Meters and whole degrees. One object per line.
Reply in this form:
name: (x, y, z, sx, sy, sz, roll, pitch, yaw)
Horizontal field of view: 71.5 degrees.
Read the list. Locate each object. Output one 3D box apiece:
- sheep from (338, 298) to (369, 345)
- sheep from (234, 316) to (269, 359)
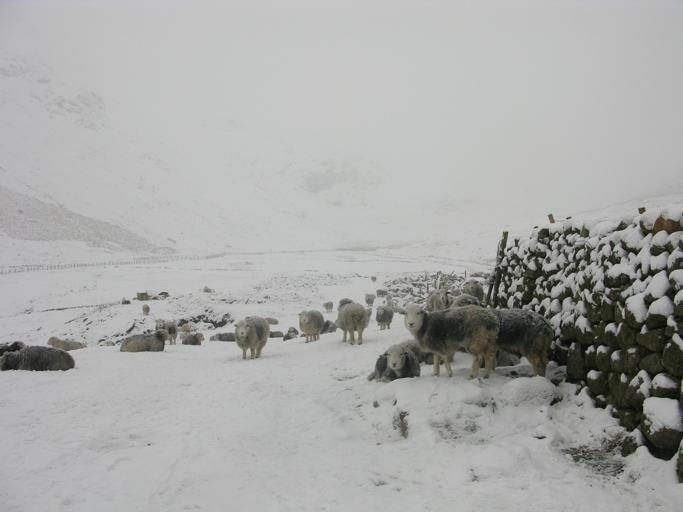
sheep: (0.376, 2.271, 15.460, 0.784, 1.528, 1.497, -9, 13, -15)
sheep: (-2.881, 2.767, 15.505, 0.889, 1.570, 1.311, -5, 12, -1)
